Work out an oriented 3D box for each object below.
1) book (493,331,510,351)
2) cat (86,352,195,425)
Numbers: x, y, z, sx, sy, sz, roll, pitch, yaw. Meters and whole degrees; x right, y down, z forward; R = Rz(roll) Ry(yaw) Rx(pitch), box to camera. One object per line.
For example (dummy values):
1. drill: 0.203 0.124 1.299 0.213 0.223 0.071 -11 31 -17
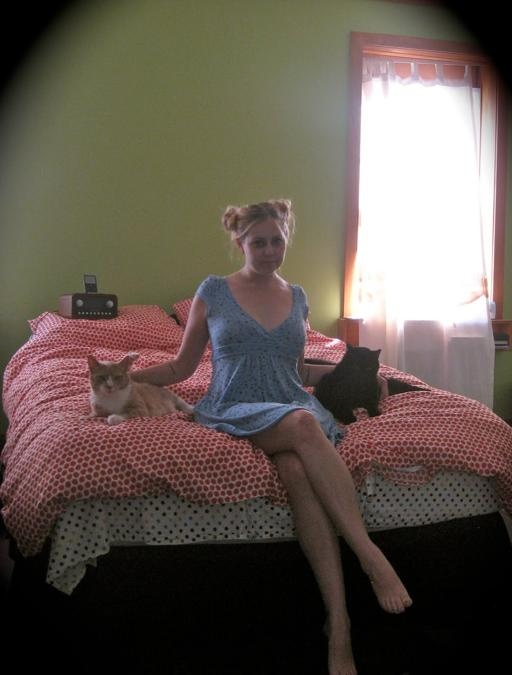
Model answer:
1. book: 1.673 0.026 3.469 0.103 0.107 0.026 -3 2 -7
2. cat: -0.331 0.173 1.486 0.164 0.181 0.373 -10 -14 31
